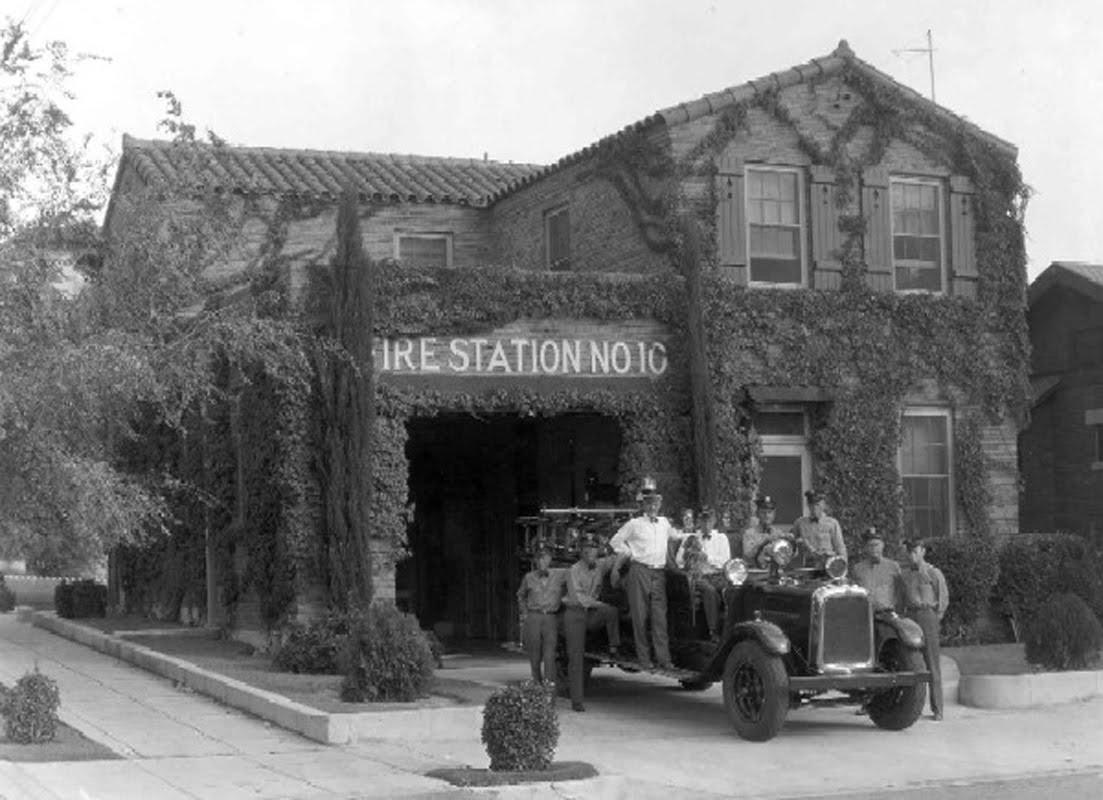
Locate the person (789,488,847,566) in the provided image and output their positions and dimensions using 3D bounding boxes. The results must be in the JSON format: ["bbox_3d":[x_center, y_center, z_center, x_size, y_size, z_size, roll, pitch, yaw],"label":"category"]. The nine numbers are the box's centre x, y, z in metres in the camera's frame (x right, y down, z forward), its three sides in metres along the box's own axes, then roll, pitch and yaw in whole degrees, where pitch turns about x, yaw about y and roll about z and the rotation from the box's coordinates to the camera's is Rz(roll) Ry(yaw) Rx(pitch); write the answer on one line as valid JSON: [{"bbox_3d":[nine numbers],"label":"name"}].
[{"bbox_3d":[4.091,1.951,24.328,0.777,1.405,0.471,-14,-13,32],"label":"person"}]

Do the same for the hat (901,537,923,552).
[{"bbox_3d":[5.017,2.009,22.161,0.324,0.170,0.383,-1,-6,16],"label":"hat"}]

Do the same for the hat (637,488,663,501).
[{"bbox_3d":[1.339,1.318,22.166,0.294,0.138,0.362,1,0,20],"label":"hat"}]

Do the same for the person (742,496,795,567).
[{"bbox_3d":[3.090,2.039,22.661,0.737,1.317,0.707,-4,2,-32],"label":"person"}]

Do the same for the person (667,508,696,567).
[{"bbox_3d":[1.881,1.873,22.384,0.574,0.869,0.319,1,-7,44],"label":"person"}]
